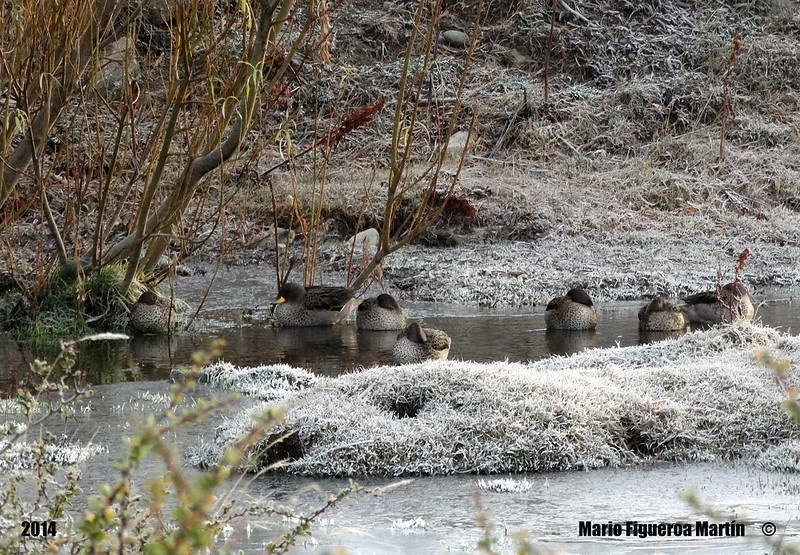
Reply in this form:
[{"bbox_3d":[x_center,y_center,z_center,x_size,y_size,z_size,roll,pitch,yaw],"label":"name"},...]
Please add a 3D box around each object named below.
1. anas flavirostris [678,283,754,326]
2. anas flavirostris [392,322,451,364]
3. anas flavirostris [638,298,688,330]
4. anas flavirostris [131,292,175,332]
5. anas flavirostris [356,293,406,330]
[{"bbox_3d":[4.237,0.404,16.775,0.792,0.389,0.622,0,-2,-27],"label":"anas flavirostris"},{"bbox_3d":[0.257,0.782,14.019,0.617,0.492,0.384,5,7,-1],"label":"anas flavirostris"},{"bbox_3d":[3.539,0.513,16.463,0.461,0.295,0.476,3,5,17],"label":"anas flavirostris"},{"bbox_3d":[-3.223,0.497,16.147,0.435,0.412,0.593,-1,3,-3],"label":"anas flavirostris"},{"bbox_3d":[-0.249,0.470,16.774,0.511,0.372,0.518,1,-1,-3],"label":"anas flavirostris"}]
